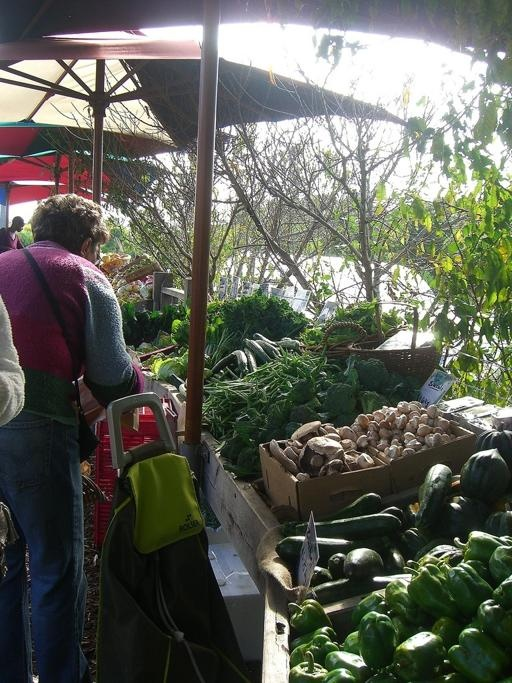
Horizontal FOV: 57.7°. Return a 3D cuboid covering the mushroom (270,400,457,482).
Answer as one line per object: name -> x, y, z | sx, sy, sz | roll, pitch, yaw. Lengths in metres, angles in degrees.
mushroom -> 0.352, 0.346, 2.001 | 0.819, 0.310, 0.497 | -3, 11, -22
